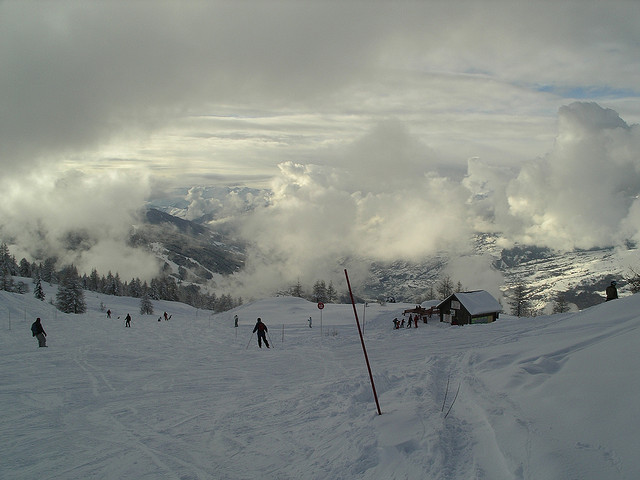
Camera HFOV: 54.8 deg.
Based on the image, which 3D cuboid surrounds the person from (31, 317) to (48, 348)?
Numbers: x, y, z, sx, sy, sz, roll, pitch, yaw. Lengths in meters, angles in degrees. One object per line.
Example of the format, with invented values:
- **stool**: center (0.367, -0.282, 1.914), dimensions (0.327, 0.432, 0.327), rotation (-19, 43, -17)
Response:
- **person**: center (-16.161, 5.403, 35.688), dimensions (0.773, 1.733, 1.120), rotation (-1, -2, -26)

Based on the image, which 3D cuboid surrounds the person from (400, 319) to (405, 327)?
- **person**: center (8.054, 8.267, 61.086), dimensions (0.588, 1.148, 0.335), rotation (-4, 17, -2)
